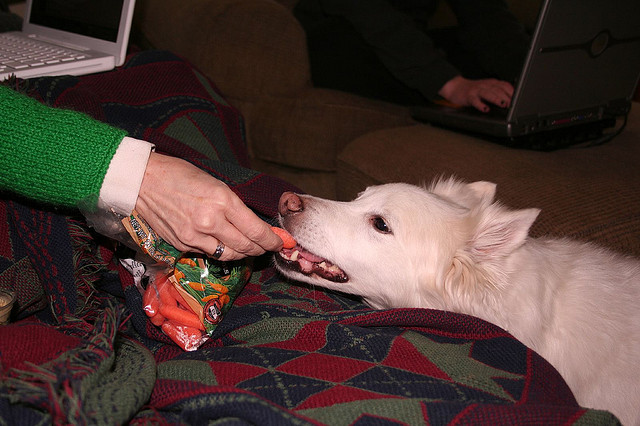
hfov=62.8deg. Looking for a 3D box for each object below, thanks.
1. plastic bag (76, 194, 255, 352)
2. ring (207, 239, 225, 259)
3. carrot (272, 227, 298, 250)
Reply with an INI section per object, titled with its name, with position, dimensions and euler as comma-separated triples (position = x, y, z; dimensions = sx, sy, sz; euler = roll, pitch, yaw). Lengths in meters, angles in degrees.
[plastic bag]
position = -0.728, 0.313, 2.779
dimensions = 0.609, 0.301, 0.961
euler = 5, 34, -44
[ring]
position = -0.493, 0.158, 2.478
dimensions = 0.027, 0.073, 0.074
euler = 14, 61, 0
[carrot]
position = -0.179, 0.134, 2.831
dimensions = 0.119, 0.066, 0.095
euler = 26, 6, 19
